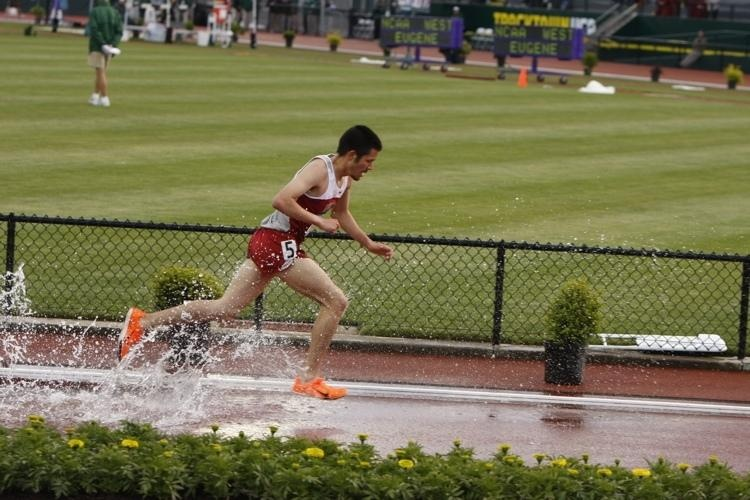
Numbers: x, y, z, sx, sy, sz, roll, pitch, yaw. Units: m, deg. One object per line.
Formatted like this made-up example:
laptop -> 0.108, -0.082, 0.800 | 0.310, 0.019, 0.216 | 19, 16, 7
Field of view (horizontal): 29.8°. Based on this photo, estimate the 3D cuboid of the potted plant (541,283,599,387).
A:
potted plant -> 2.374, 0.987, 17.035 | 0.613, 1.212, 0.545 | 10, 15, 17

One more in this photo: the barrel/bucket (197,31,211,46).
barrel/bucket -> -5.343, -6.528, 43.656 | 0.510, 0.490, 0.484 | 1, 3, 0

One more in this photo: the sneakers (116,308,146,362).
sneakers -> -2.824, 0.945, 16.485 | 0.314, 0.646, 0.234 | 16, 2, 1
